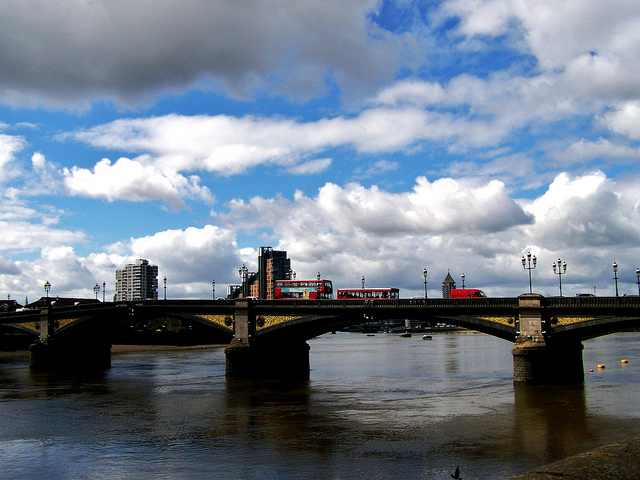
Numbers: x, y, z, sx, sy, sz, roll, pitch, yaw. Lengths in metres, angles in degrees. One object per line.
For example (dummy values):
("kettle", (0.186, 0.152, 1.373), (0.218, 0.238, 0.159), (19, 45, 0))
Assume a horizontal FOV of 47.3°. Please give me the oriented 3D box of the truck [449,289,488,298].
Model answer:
("truck", (18.685, 6.793, 93.546), (3.882, 1.041, 19.127), (-3, -4, 10))
